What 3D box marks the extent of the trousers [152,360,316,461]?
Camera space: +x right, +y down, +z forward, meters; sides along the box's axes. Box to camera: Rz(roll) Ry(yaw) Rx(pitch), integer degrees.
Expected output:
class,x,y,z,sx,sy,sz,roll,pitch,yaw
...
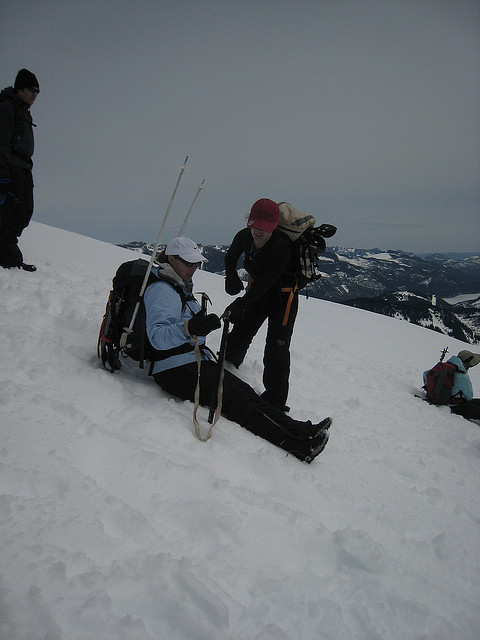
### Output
class,x,y,z,sx,sy,sz,roll,pitch,yaw
trousers,0.027,0.670,4.177,1.577,0.412,0.554,27,20,6

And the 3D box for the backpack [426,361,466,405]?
class,x,y,z,sx,sy,sz,roll,pitch,yaw
backpack,2.622,0.770,6.262,0.383,0.565,0.423,3,8,39

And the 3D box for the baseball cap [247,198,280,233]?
class,x,y,z,sx,sy,sz,roll,pitch,yaw
baseball cap,0.196,-0.871,4.267,0.230,0.218,0.149,12,5,-1

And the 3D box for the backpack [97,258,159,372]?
class,x,y,z,sx,sy,sz,roll,pitch,yaw
backpack,-0.929,-0.037,4.128,0.321,0.866,0.545,7,9,-33

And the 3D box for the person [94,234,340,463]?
class,x,y,z,sx,sy,sz,roll,pitch,yaw
person,-0.184,0.101,4.102,2.141,1.309,1.082,16,10,27
